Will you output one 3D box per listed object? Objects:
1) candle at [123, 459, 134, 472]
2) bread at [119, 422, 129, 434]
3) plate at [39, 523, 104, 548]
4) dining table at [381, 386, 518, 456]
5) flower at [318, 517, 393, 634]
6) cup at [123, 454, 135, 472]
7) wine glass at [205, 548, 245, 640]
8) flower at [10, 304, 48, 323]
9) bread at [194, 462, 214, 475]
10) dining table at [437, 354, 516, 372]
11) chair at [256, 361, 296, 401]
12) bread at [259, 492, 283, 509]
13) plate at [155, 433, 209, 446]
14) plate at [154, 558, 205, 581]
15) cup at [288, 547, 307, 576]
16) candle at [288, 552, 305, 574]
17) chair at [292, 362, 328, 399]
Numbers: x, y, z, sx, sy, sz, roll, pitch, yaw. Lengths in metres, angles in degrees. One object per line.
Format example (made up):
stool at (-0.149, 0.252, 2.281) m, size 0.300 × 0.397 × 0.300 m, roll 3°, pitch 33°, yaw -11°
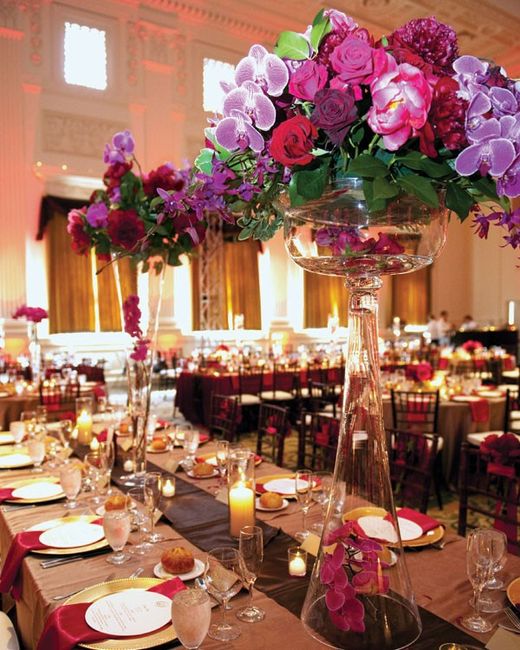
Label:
candle at (-0.450, 0.490, 1.912) m, size 0.041 × 0.029 × 0.041 m, roll 0°, pitch -9°, yaw 10°
bread at (-0.614, 0.472, 2.507) m, size 0.049 × 0.062 × 0.047 m, roll 8°, pitch -10°, yaw -22°
plate at (-0.469, 0.528, 1.377) m, size 0.102 × 0.010 × 0.101 m, roll 2°, pitch 4°, yaw 15°
dining table at (1.443, 0.595, 4.169) m, size 0.641 × 0.726 × 0.561 m, roll -5°, pitch 3°, yaw 0°
flower at (0.144, 0.378, 0.819) m, size 0.106 × 0.166 × 0.052 m, roll -2°, pitch 2°, yaw 11°
cup at (-0.455, 0.481, 1.924) m, size 0.058 × 0.054 × 0.058 m, roll 2°, pitch -1°, yaw 0°
wine glass at (-0.064, 0.469, 1.006) m, size 0.062 × 0.138 × 0.178 m, roll -3°, pitch 2°, yaw -5°
flower at (-2.515, -0.120, 5.942) m, size 0.316 × 0.215 × 0.403 m, roll -1°, pitch 10°, yaw -34°
bread at (-0.193, 0.501, 1.920) m, size 0.046 × 0.027 × 0.047 m, roll 6°, pitch -8°, yaw -31°
dining table at (2.577, 0.455, 6.505) m, size 0.869 × 0.243 × 0.868 m, roll -2°, pitch 1°, yaw 13°
chair at (0.165, 0.644, 5.997) m, size 0.388 × 0.623 × 0.397 m, roll 0°, pitch 3°, yaw -17°
bread at (0.030, 0.501, 1.583) m, size 0.046 × 0.022 × 0.043 m, roll 1°, pitch 8°, yaw 2°
plate at (-0.320, 0.477, 2.277) m, size 0.136 × 0.030 × 0.136 m, roll 0°, pitch -6°, yaw 25°
plate at (-0.170, 0.522, 1.175) m, size 0.110 × 0.013 × 0.116 m, roll -3°, pitch 1°, yaw -10°
cup at (0.081, 0.503, 1.165) m, size 0.045 × 0.048 × 0.044 m, roll 1°, pitch -6°, yaw 0°
candle at (0.084, 0.507, 1.174) m, size 0.037 × 0.040 × 0.037 m, roll 0°, pitch -5°, yaw 4°
chair at (0.544, 0.624, 6.301) m, size 0.387 × 0.585 × 0.397 m, roll 1°, pitch 7°, yaw -3°
